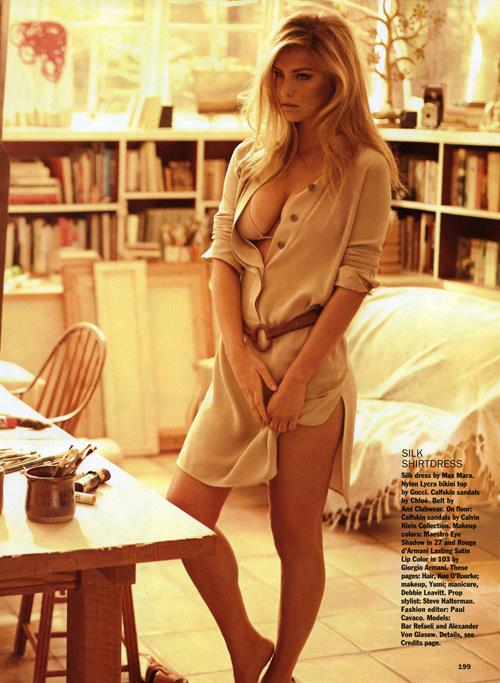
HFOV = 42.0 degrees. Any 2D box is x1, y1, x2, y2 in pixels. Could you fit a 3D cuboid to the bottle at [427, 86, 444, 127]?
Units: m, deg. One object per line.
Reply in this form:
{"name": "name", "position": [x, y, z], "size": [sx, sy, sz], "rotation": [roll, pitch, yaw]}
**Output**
{"name": "bottle", "position": [1.195, -1.527, 4.236], "size": [0.135, 0.272, 0.076], "rotation": [2, 4, 27]}

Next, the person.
{"name": "person", "position": [0.069, 0.063, 1.488], "size": [0.482, 1.498, 0.272], "rotation": [1, 4, 20]}

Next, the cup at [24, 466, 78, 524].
{"name": "cup", "position": [-0.295, 0.235, 0.999], "size": [0.077, 0.076, 0.078], "rotation": [1, -1, 0]}
